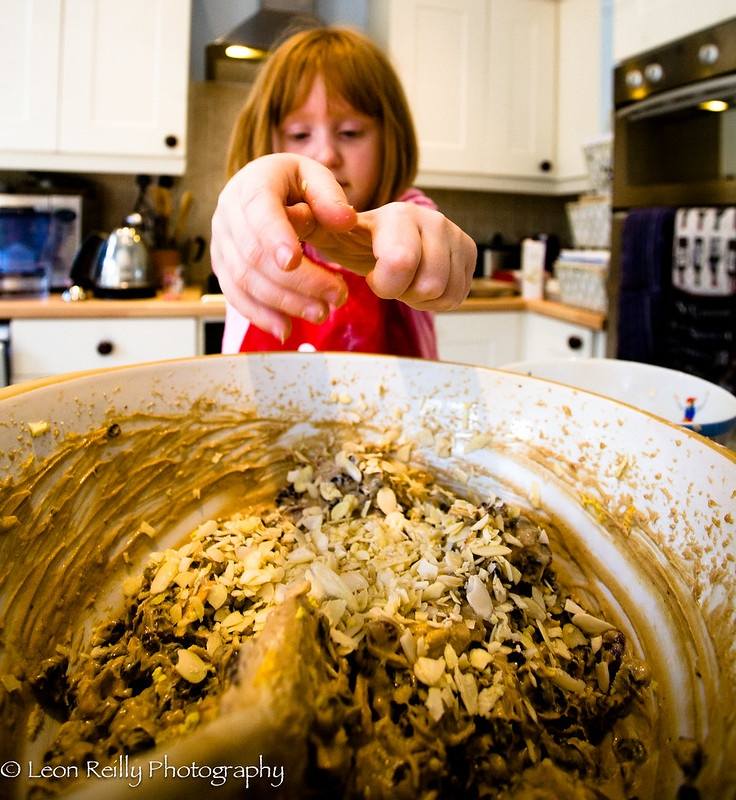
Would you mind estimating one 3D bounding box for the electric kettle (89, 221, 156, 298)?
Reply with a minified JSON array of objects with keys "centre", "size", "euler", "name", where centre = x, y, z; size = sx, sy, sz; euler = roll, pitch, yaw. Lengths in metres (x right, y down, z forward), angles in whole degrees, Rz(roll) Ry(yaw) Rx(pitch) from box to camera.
[{"centre":[-0.694,-0.371,1.863],"size":[0.192,0.226,0.166],"euler":[-2,-4,-26],"name":"electric kettle"}]
